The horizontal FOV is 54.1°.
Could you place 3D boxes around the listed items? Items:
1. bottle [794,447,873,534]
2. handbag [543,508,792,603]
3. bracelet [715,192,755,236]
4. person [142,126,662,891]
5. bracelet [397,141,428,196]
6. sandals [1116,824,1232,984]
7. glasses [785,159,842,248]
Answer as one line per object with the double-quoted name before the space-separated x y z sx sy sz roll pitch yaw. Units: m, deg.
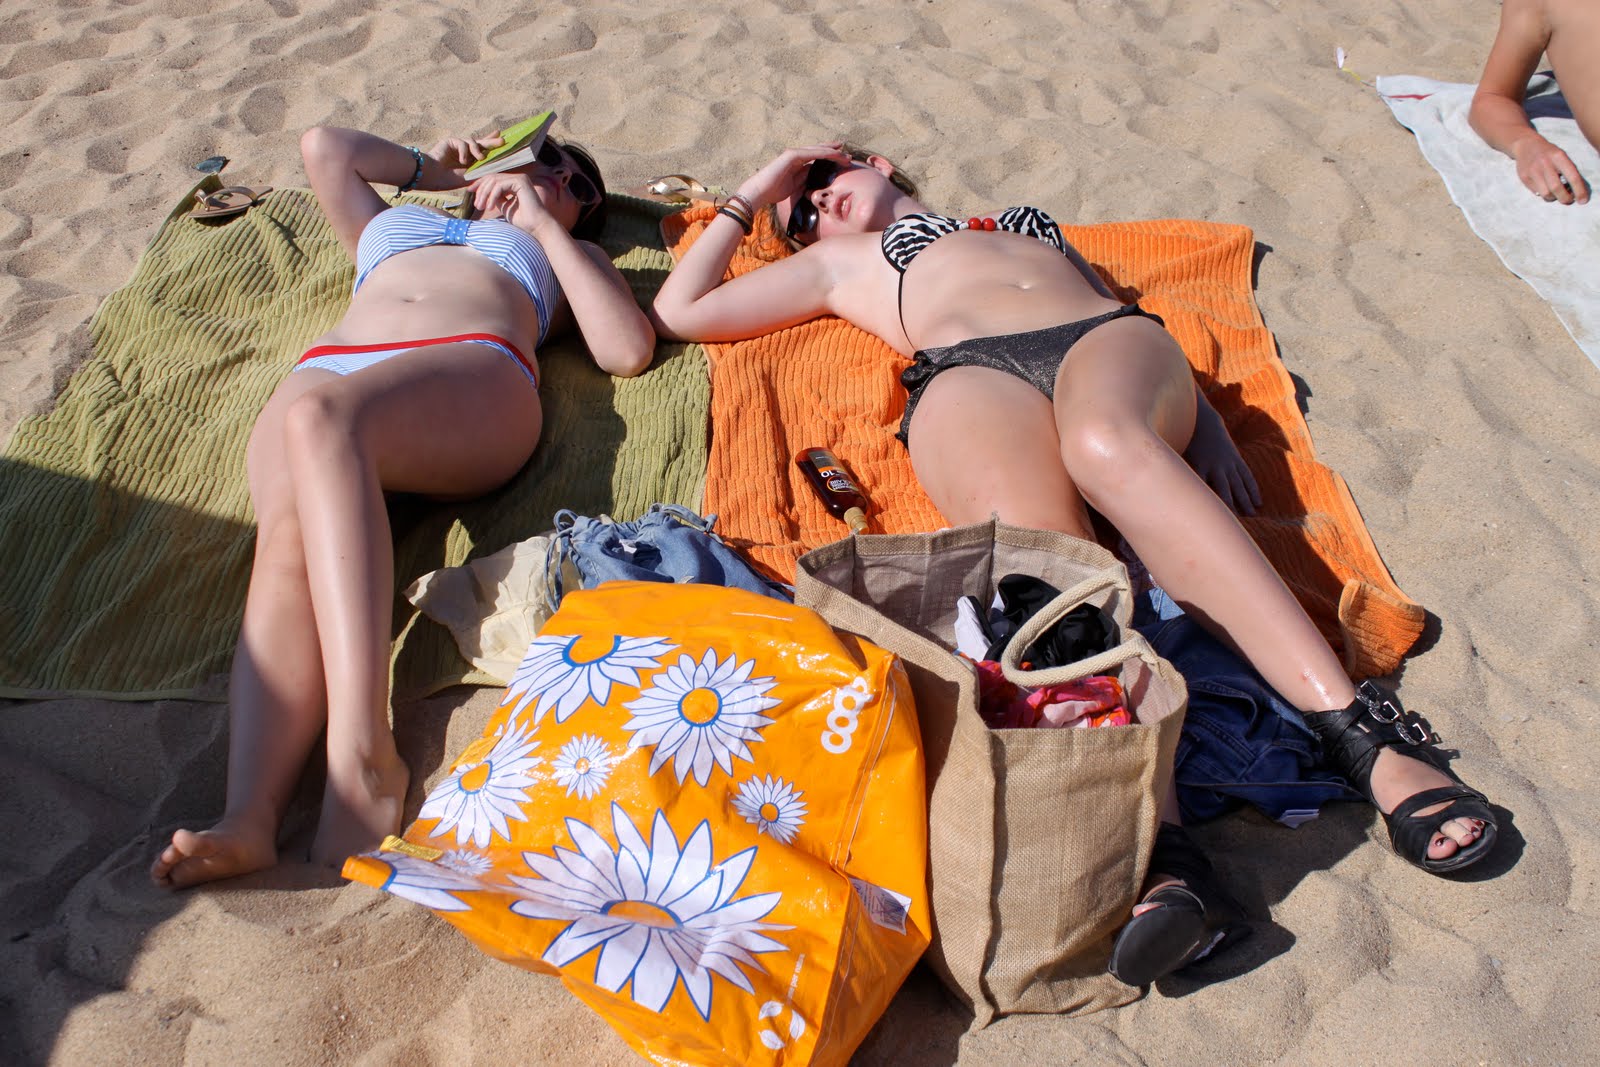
"bottle" 0.112 -0.125 4.881 0.157 0.090 0.302 13 34 -46
"handbag" -0.413 0.054 4.516 0.336 0.441 0.169 3 99 -16
"bracelet" -0.225 -1.098 5.459 0.122 0.133 0.054 43 72 5
"person" -1.214 -0.090 4.991 1.142 0.776 2.369 11 57 11
"bracelet" -1.389 -1.308 5.592 0.055 0.122 0.146 4 84 -35
"sandals" 0.934 0.956 3.972 0.140 0.284 0.301 33 79 0
"glasses" 0.027 -1.196 5.607 0.070 0.220 0.243 -6 80 -39
